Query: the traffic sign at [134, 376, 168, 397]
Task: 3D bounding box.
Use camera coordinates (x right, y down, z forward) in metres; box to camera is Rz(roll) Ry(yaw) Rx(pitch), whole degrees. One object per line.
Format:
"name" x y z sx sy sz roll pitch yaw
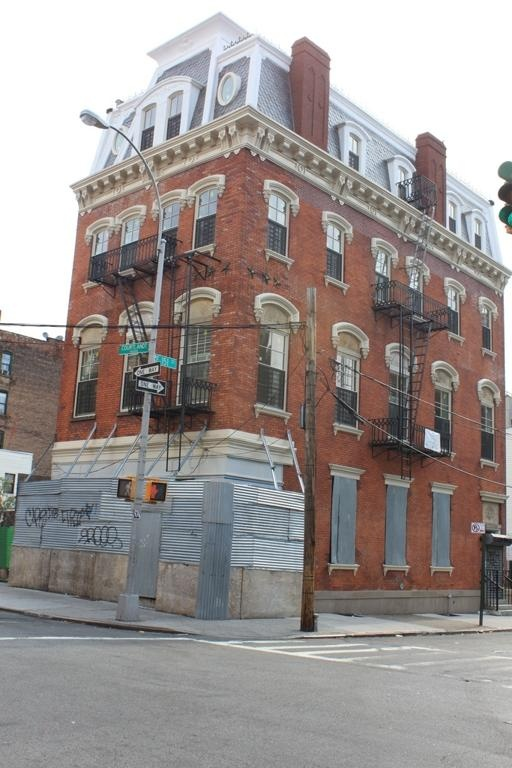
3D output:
"traffic sign" -2.434 0.019 16.010 0.650 0.438 0.594 7 -15 -14

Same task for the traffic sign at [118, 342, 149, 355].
"traffic sign" -3.066 -0.881 17.528 0.768 0.336 0.105 -6 -26 23

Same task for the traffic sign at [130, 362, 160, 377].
"traffic sign" -2.493 -0.301 15.980 0.897 0.358 0.274 -7 -18 33
